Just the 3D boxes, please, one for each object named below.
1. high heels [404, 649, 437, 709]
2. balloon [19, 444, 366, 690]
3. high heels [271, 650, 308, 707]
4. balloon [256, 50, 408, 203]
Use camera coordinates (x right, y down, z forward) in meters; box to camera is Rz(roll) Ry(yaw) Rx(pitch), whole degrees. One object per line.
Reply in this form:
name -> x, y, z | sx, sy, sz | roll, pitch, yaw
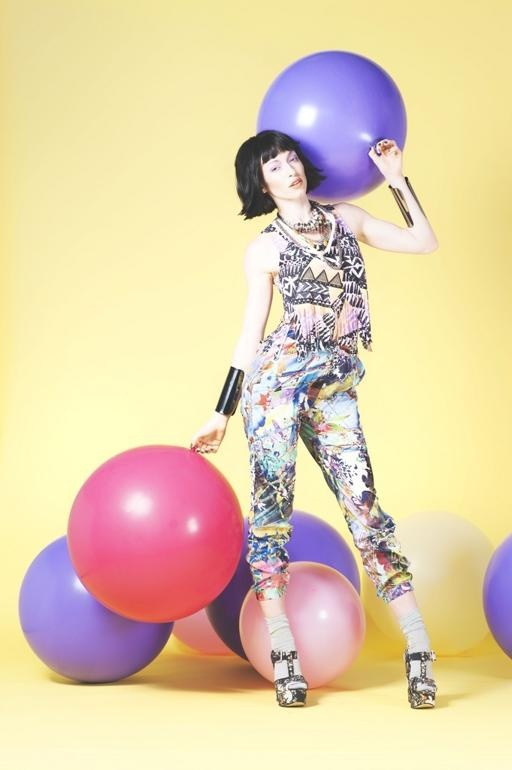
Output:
high heels -> 0.364, 0.649, 1.479 | 0.056, 0.106, 0.080 | -1, -33, -5
balloon -> -0.308, 0.433, 1.653 | 0.354, 0.457, 0.614 | 17, -38, -29
high heels -> 0.072, 0.647, 1.479 | 0.080, 0.126, 0.055 | -7, -4, 1
balloon -> 0.191, -0.636, 1.617 | 0.297, 0.331, 0.296 | -12, 13, -43
